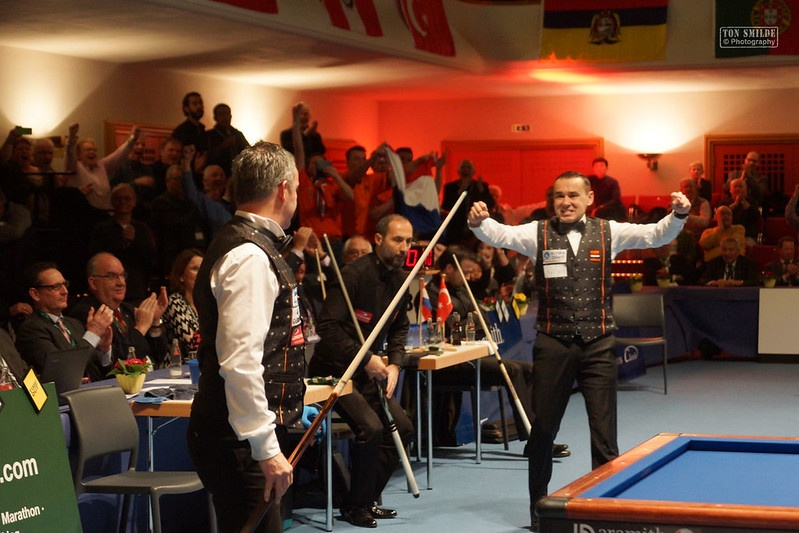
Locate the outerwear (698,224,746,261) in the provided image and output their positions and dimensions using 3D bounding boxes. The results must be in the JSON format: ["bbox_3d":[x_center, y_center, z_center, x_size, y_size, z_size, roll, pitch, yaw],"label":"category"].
[{"bbox_3d":[5.240,-0.370,11.535,0.682,0.727,0.481,-4,-18,27],"label":"outerwear"}]

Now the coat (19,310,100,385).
[{"bbox_3d":[-2.216,0.543,4.662,0.316,0.536,0.442,-19,-8,20],"label":"coat"}]

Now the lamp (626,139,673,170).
[{"bbox_3d":[4.974,-2.191,14.104,0.615,0.648,0.596,0,-6,4],"label":"lamp"}]

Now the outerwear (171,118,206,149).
[{"bbox_3d":[-2.745,-1.745,9.556,0.275,0.433,0.567,1,5,25],"label":"outerwear"}]

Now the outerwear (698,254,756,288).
[{"bbox_3d":[4.913,0.076,10.645,0.768,0.427,0.476,1,5,24],"label":"outerwear"}]

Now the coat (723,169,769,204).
[{"bbox_3d":[6.089,-1.362,12.519,0.656,0.768,0.441,-3,-37,12],"label":"coat"}]

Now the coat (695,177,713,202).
[{"bbox_3d":[5.423,-1.355,12.748,0.283,0.396,0.469,1,5,28],"label":"coat"}]

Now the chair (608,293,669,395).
[{"bbox_3d":[2.774,0.894,8.269,0.605,1.092,0.708,-2,-3,18],"label":"chair"}]

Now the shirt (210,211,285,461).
[{"bbox_3d":[-0.616,0.351,2.920,0.277,0.880,0.186,-2,5,-15],"label":"shirt"}]

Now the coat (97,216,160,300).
[{"bbox_3d":[-3.025,-0.095,8.079,0.530,0.897,0.781,0,4,13],"label":"coat"}]

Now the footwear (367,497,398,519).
[{"bbox_3d":[-0.123,1.771,5.231,0.277,0.112,0.093,0,1,-1],"label":"footwear"}]

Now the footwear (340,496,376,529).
[{"bbox_3d":[-0.291,1.773,5.167,0.325,0.135,0.111,-2,-6,44],"label":"footwear"}]

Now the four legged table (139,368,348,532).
[{"bbox_3d":[-0.930,1.170,4.852,1.349,1.238,1.355,-2,-8,13],"label":"four legged table"}]

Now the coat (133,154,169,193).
[{"bbox_3d":[-3.060,-1.145,8.884,0.220,0.467,0.530,0,4,9],"label":"coat"}]

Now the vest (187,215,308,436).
[{"bbox_3d":[-0.684,0.250,3.217,0.505,0.893,0.677,0,-4,-5],"label":"vest"}]

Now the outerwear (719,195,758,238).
[{"bbox_3d":[5.882,-0.875,12.284,0.556,0.795,0.441,4,-13,23],"label":"outerwear"}]
